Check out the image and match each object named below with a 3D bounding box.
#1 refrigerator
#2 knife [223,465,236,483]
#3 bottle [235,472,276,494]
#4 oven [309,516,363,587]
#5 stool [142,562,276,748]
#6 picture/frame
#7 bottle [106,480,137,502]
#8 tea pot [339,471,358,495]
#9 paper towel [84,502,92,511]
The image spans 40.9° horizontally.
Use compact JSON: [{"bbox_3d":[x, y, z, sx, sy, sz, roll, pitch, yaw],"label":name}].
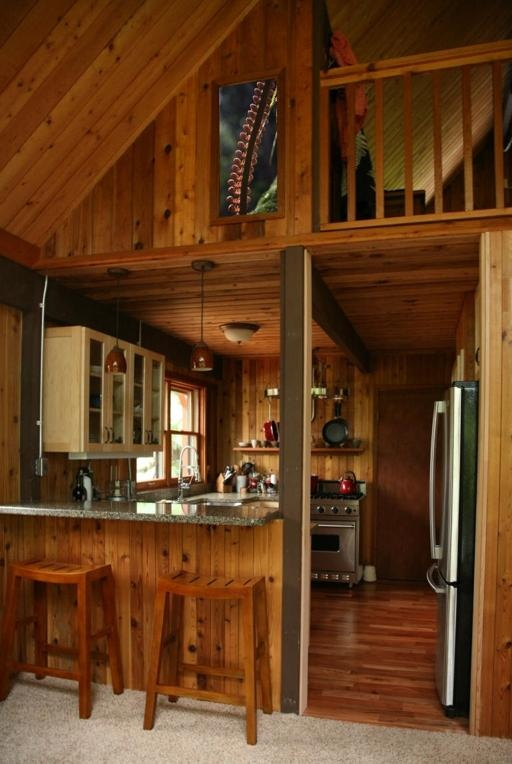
[{"bbox_3d":[0.962,0.802,3.384,0.233,1.614,0.574,-1,-4,15],"label":"refrigerator"},{"bbox_3d":[-0.281,0.982,7.216,0.047,0.153,0.101,20,-17,-36],"label":"knife"},{"bbox_3d":[0.006,1.071,7.155,0.473,0.241,0.174,1,-2,21],"label":"bottle"},{"bbox_3d":[0.698,1.465,6.456,0.474,0.756,0.493,-1,12,-1],"label":"oven"},{"bbox_3d":[-0.185,1.241,3.320,0.693,1.096,0.589,-1,-7,16],"label":"stool"},{"bbox_3d":[0.007,-1.437,4.250,0.609,0.877,0.036,-5,32,-10],"label":"picture/frame"},{"bbox_3d":[-0.939,0.765,4.785,0.139,0.229,0.207,2,-1,27],"label":"bottle"},{"bbox_3d":[0.908,1.007,6.734,0.140,0.241,0.209,1,-17,-2],"label":"tea pot"},{"bbox_3d":[-0.886,0.662,3.624,0.034,0.079,0.038,1,-2,16],"label":"paper towel"}]
